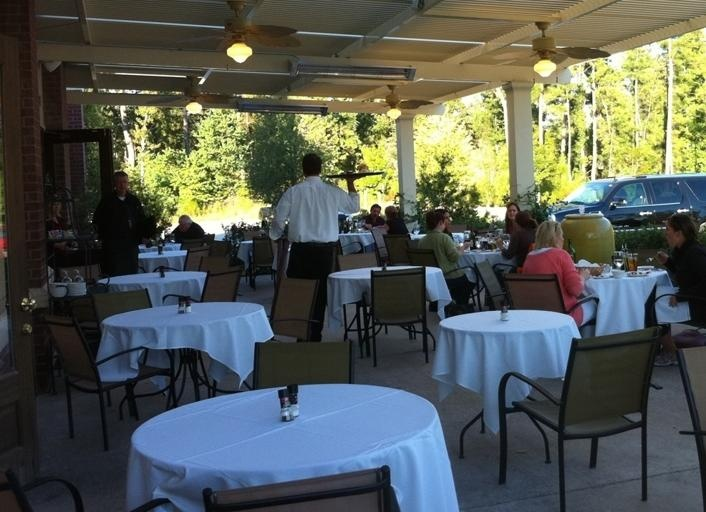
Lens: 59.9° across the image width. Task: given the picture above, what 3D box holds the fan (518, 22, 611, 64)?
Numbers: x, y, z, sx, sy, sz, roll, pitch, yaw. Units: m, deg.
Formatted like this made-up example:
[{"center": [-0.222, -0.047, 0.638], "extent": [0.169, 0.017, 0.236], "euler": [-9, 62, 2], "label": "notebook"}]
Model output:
[{"center": [2.977, -2.852, 8.564], "extent": [0.928, 0.383, 0.950], "euler": [-5, 5, -14], "label": "fan"}]

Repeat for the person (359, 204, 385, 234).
[{"center": [0.434, -0.780, 13.163], "extent": [0.587, 0.990, 0.550], "euler": [0, -11, -1], "label": "person"}]

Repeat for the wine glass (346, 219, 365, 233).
[{"center": [0.021, -0.625, 13.192], "extent": [0.332, 0.249, 0.343], "euler": [1, -1, -4], "label": "wine glass"}]

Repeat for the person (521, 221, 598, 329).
[{"center": [2.007, 0.250, 5.874], "extent": [0.659, 1.163, 0.622], "euler": [-4, -3, -12], "label": "person"}]

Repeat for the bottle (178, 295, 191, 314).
[{"center": [-1.469, 0.424, 5.272], "extent": [0.119, 0.180, 0.174], "euler": [1, -4, -2], "label": "bottle"}]

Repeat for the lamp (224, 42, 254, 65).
[{"center": [-1.370, -2.433, 7.260], "extent": [0.251, 0.196, 0.329], "euler": [-4, 7, -16], "label": "lamp"}]

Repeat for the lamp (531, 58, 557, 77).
[{"center": [2.623, -2.589, 8.383], "extent": [0.250, 0.199, 0.407], "euler": [0, 7, 15], "label": "lamp"}]

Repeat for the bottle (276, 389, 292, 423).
[{"center": [-0.341, 0.710, 2.955], "extent": [0.051, 0.154, 0.114], "euler": [-6, 8, -32], "label": "bottle"}]

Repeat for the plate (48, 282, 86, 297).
[{"center": [-2.998, 0.355, 6.356], "extent": [0.196, 0.095, 0.254], "euler": [0, -1, 1], "label": "plate"}]
